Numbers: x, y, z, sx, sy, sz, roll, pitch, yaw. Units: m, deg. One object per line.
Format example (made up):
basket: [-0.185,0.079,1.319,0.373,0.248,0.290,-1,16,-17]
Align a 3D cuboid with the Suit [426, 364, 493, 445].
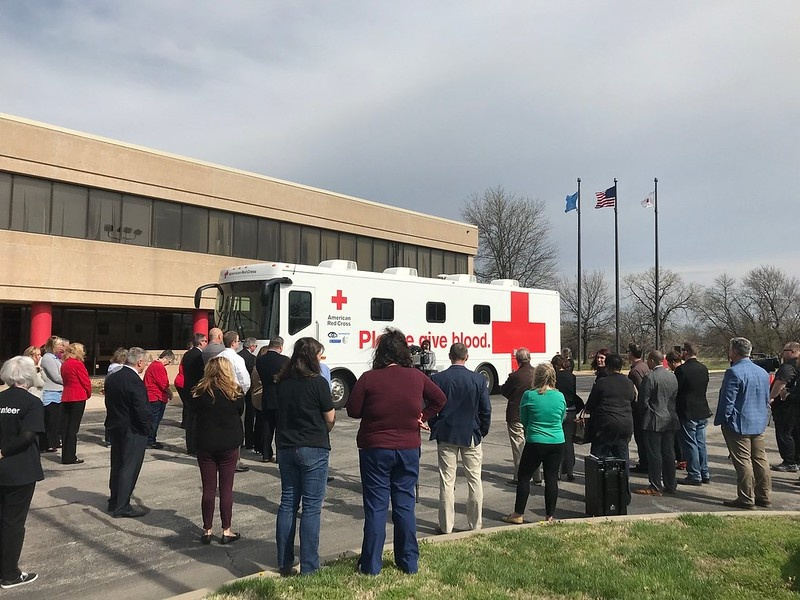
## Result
Suit: [0.796,1.348,10.666,0.848,1.064,0.539,2,9,13]

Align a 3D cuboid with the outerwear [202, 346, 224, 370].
outerwear: [-2.753,0.845,11.729,0.317,0.499,0.256,2,-8,-1]

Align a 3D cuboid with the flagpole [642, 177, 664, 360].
flagpole: [13.027,-2.529,41.535,1.032,7.939,0.564,10,34,33]

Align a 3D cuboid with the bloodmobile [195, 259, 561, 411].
bloodmobile: [0.073,0.877,21.765,10.830,3.933,3.043,3,-2,-42]

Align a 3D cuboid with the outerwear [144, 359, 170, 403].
outerwear: [-4.570,1.475,14.995,0.423,0.792,0.748,0,1,-42]

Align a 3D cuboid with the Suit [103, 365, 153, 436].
Suit: [-3.800,1.385,11.190,0.441,1.166,0.462,4,-1,7]
